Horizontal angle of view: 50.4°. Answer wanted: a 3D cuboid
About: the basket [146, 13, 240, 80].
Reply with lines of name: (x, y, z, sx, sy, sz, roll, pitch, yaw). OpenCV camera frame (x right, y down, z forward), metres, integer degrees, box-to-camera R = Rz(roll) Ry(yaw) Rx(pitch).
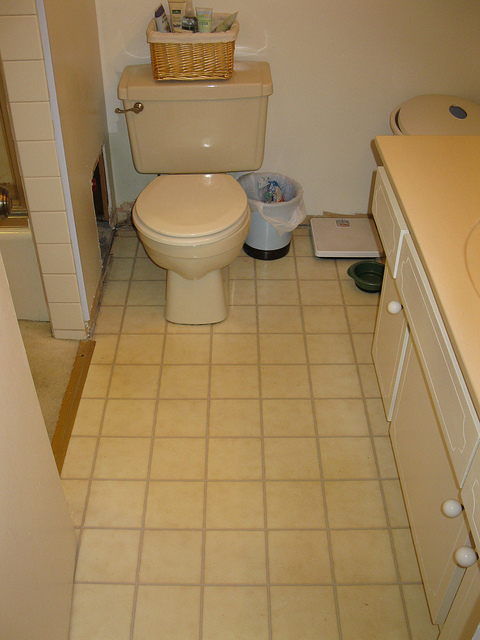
basket: (-0.172, -1.005, 1.784, 0.305, 0.176, 0.284, -4, 61, -5)

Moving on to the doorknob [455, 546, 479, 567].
doorknob: (0.303, 0.313, 0.674, 0.025, 0.032, 0.016, 12, -3, 30)

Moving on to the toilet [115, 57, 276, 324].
toilet: (-0.175, -0.456, 1.941, 0.467, 0.806, 0.764, -1, 36, -2)
